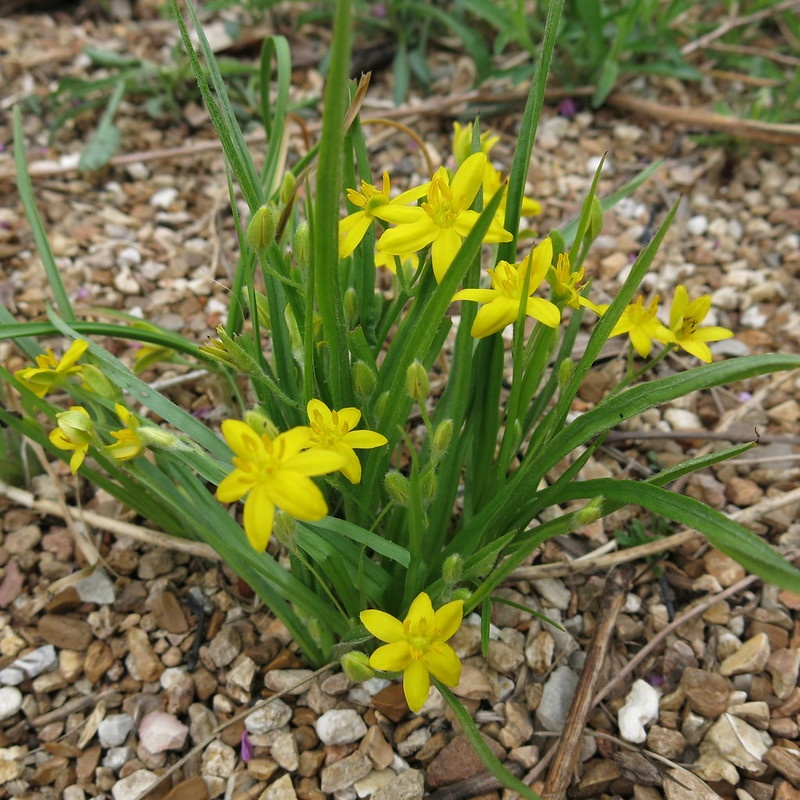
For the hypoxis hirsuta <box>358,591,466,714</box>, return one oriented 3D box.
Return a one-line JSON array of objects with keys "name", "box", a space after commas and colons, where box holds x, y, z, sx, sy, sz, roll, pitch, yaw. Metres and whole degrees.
[{"name": "hypoxis hirsuta", "box": [0.020, 0.544, 1.673, 0.204, 0.382, 0.188, 0, 54, -5]}]
